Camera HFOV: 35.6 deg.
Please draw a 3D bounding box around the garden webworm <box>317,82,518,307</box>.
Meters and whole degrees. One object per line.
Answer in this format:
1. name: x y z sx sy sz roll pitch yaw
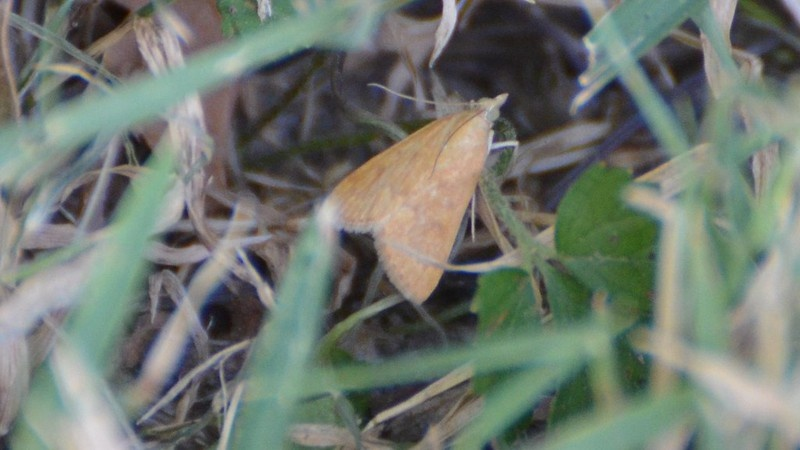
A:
1. garden webworm: 0.036 -0.068 1.309 0.246 0.181 0.067 -29 78 -20
